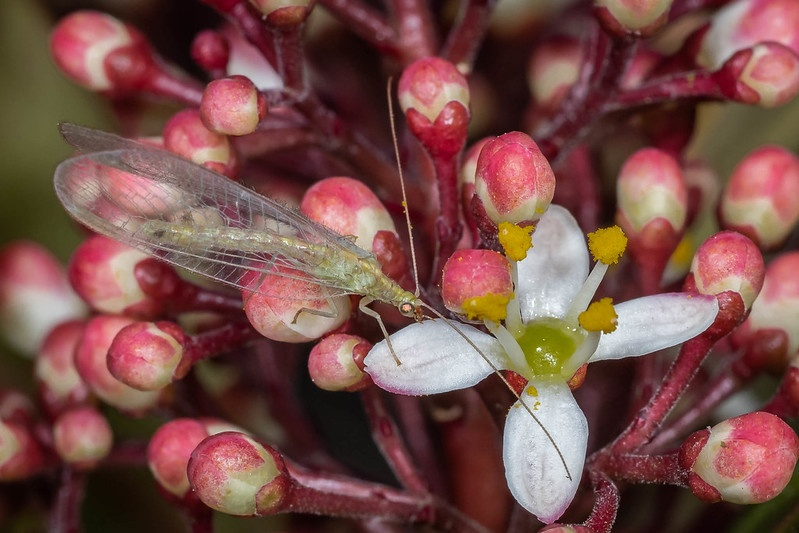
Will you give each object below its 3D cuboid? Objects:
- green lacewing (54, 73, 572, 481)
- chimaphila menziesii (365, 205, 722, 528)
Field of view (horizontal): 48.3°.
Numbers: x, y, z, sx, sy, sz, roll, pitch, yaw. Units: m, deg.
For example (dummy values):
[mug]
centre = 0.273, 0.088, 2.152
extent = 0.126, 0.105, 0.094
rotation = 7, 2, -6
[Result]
[green lacewing]
centre = -0.297, -0.013, 2.001
extent = 0.961, 0.736, 0.222
rotation = 18, 39, -8
[chimaphila menziesii]
centre = 0.269, 0.141, 1.986
extent = 0.571, 0.745, 0.699
rotation = 2, 8, 0
